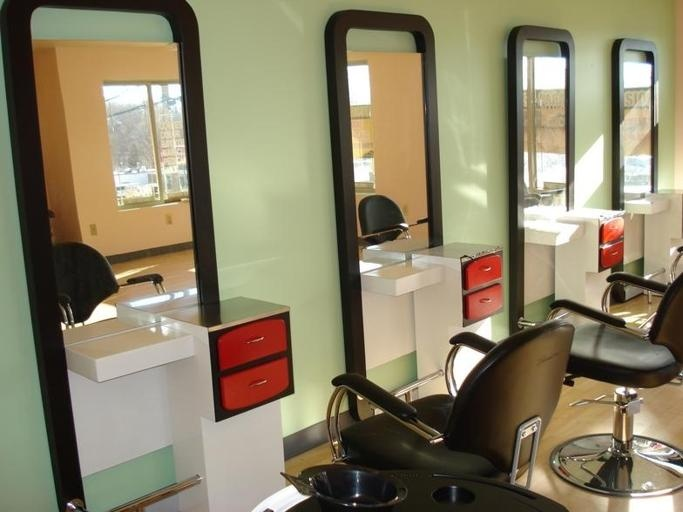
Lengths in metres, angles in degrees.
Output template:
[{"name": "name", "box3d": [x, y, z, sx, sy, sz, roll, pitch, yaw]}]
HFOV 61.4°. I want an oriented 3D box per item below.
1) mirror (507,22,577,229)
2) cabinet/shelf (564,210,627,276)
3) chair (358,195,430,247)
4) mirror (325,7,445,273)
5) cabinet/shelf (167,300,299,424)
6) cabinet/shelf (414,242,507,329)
[{"name": "mirror", "box3d": [1.454, -0.924, 4.224, 0.231, 1.444, 0.837, 6, 15, 39]}, {"name": "cabinet/shelf", "box3d": [1.875, -0.120, 4.435, 0.455, 0.464, 0.438, 4, 10, 39]}, {"name": "chair", "box3d": [0.268, -0.188, 3.241, 0.259, 0.333, 0.277, -22, 23, -35]}, {"name": "mirror", "box3d": [0.248, -0.656, 3.271, 0.822, 1.398, 0.148, -14, 15, -39]}, {"name": "cabinet/shelf", "box3d": [-0.461, 0.375, 2.595, 0.486, 0.491, 0.476, 6, 13, 39]}, {"name": "cabinet/shelf", "box3d": [0.661, 0.099, 3.324, 0.458, 0.468, 0.453, 4, 16, 32]}]
